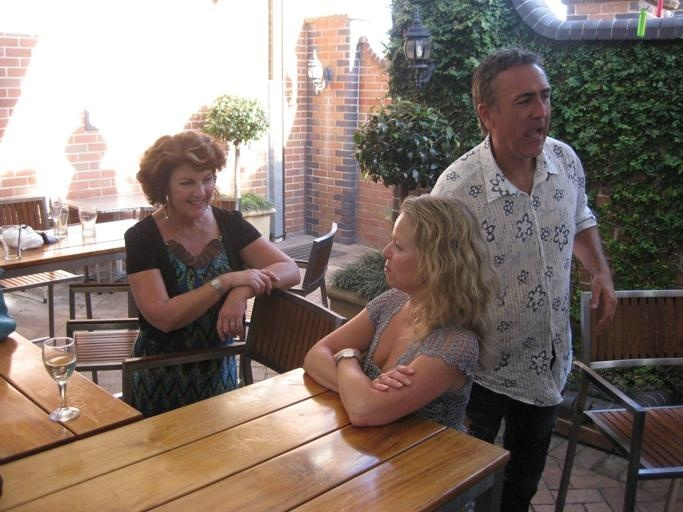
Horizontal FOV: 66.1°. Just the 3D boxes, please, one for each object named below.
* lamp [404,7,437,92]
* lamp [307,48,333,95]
[{"bbox_3d":[0.721,-1.926,4.855,0.267,0.730,0.382,4,14,14],"label":"lamp"},{"bbox_3d":[-0.382,-3.058,8.796,0.432,0.743,0.231,2,11,34],"label":"lamp"}]
